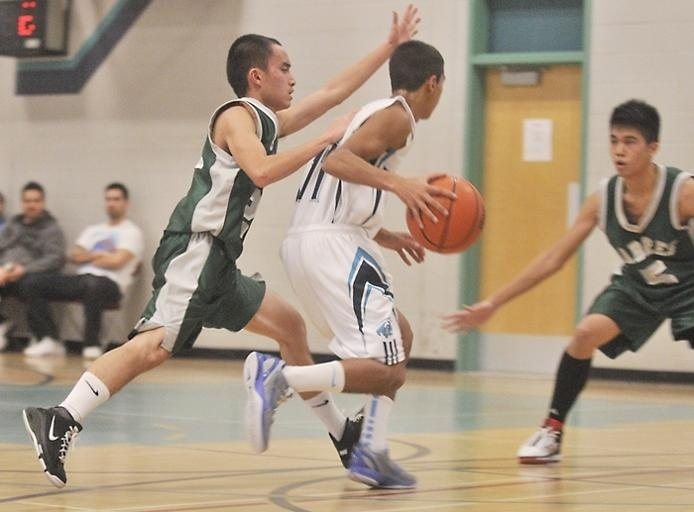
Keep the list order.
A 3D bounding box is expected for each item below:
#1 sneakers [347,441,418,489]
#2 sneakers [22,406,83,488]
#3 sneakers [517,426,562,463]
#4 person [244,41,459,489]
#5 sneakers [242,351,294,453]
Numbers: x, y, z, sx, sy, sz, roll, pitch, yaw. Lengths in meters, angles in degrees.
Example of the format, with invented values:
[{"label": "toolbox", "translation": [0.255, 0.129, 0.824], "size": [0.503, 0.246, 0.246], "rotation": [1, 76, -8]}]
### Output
[{"label": "sneakers", "translation": [0.129, 0.853, 3.605], "size": [0.343, 0.143, 0.122], "rotation": [25, -17, -24]}, {"label": "sneakers", "translation": [-1.132, 0.739, 3.423], "size": [0.210, 0.299, 0.140], "rotation": [0, 1, -20]}, {"label": "sneakers", "translation": [0.890, 0.871, 4.059], "size": [0.105, 0.093, 0.228], "rotation": [-6, -10, 37]}, {"label": "person", "translation": [0.001, 0.005, 3.619], "size": [0.809, 1.858, 0.413], "rotation": [0, 1, -7]}, {"label": "sneakers", "translation": [-0.319, 0.547, 3.471], "size": [0.204, 0.435, 0.150], "rotation": [0, 0, -3]}]
